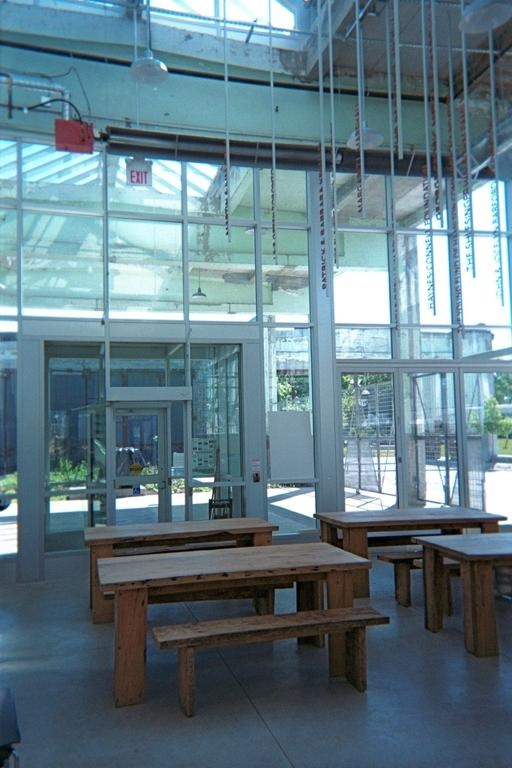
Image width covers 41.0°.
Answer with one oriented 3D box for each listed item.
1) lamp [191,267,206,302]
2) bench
[{"bbox_3d":[-0.699,-1.229,8.445,0.182,0.427,0.040,1,-5,-28],"label":"lamp"},{"bbox_3d":[0.089,1.608,4.018,1.396,0.455,0.371,0,-4,-19],"label":"bench"}]
